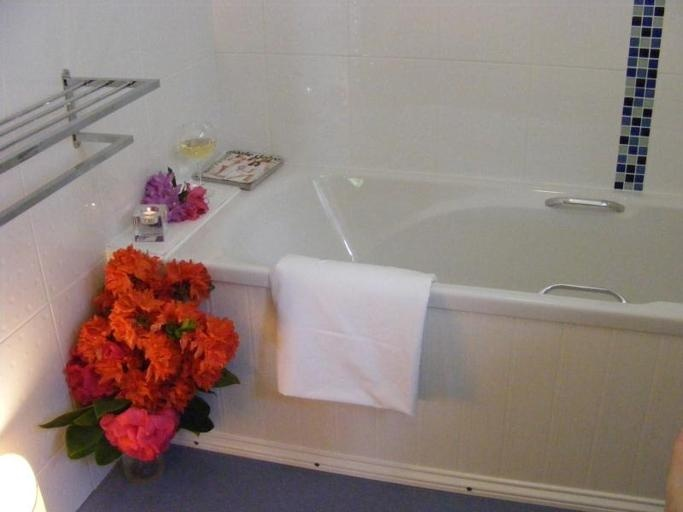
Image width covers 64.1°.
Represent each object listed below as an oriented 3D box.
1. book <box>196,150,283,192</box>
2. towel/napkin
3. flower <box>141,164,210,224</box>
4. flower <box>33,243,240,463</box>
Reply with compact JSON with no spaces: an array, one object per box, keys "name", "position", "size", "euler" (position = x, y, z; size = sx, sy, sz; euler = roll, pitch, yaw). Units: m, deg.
[{"name":"book","position":[-0.410,-0.367,2.265],"size":[0.202,0.044,0.217],"euler":[8,34,15]},{"name":"towel/napkin","position":[0.044,0.224,1.553],"size":[0.427,0.477,0.166],"euler":[7,14,11]},{"name":"flower","position":[-0.591,-0.212,1.983],"size":[0.251,0.166,0.263],"euler":[16,-1,-23]},{"name":"flower","position":[-0.559,0.247,1.694],"size":[0.561,0.617,0.576],"euler":[11,11,39]}]
